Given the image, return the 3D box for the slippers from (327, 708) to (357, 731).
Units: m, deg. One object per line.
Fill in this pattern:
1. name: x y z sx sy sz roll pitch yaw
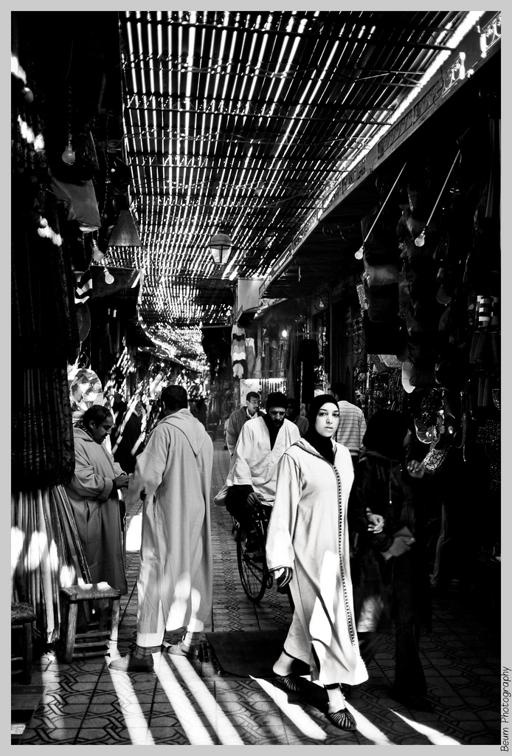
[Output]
1. slippers: 0.379 1.485 2.930 0.059 0.051 0.123 2 16 -33

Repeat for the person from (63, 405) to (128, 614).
1. person: -1.084 0.881 4.602 0.343 1.218 0.723 0 -1 9

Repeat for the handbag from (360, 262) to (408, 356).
1. handbag: 0.793 -0.426 4.266 0.313 0.396 0.212 0 -1 33

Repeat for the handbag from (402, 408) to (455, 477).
1. handbag: 1.003 0.384 3.890 0.144 0.321 0.248 10 12 -7

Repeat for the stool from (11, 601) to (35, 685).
1. stool: -1.186 1.346 3.430 0.108 0.392 0.250 1 -1 -19

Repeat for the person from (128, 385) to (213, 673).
1. person: -0.484 0.846 3.947 0.440 1.412 0.592 1 0 -4

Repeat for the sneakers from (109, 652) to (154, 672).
1. sneakers: -0.679 1.574 3.719 0.207 0.127 0.108 6 -11 3

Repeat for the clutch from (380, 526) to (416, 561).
1. clutch: 0.701 0.825 3.339 0.131 0.153 0.065 47 -5 6

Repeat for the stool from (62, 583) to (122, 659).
1. stool: -0.963 1.359 3.924 0.310 0.558 0.326 2 -1 -38

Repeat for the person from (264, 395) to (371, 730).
1. person: 0.286 0.809 3.154 0.453 1.110 0.420 0 0 11

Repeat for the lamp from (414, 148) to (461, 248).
1. lamp: 1.015 -1.058 3.866 0.107 0.132 0.935 21 41 0

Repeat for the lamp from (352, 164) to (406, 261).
1. lamp: 0.839 -1.112 4.442 0.122 1.177 0.157 -7 -40 42
